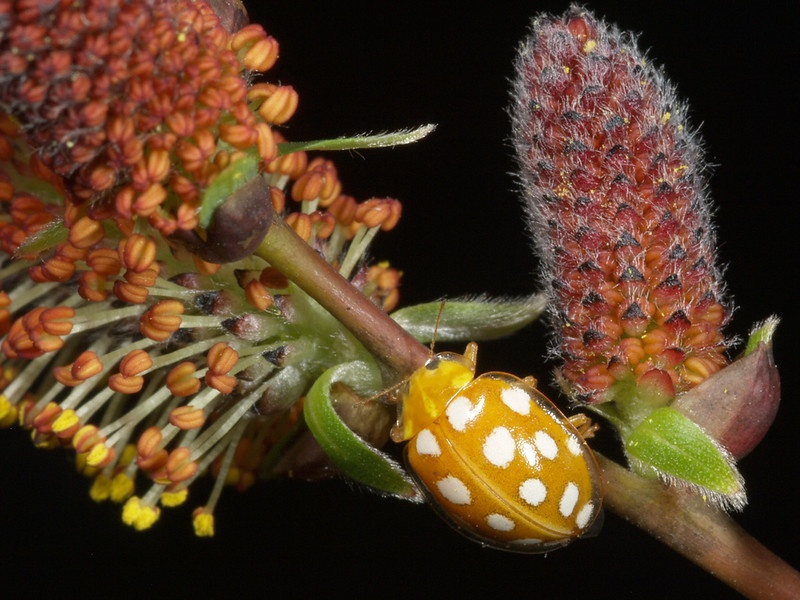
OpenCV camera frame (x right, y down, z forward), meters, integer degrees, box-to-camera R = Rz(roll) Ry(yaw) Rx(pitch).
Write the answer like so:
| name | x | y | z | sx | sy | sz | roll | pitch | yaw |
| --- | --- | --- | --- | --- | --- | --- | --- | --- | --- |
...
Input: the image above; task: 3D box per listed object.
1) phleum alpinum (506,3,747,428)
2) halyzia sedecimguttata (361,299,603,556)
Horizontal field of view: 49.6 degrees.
| name | x | y | z | sx | sy | sz | roll | pitch | yaw |
| --- | --- | --- | --- | --- | --- | --- | --- | --- | --- |
| phleum alpinum | 0.732 | -0.241 | 3.259 | 0.970 | 1.471 | 1.140 | 1 | 9 | 9 |
| halyzia sedecimguttata | 0.304 | 0.477 | 2.840 | 0.724 | 0.500 | 0.498 | 21 | 55 | 26 |
